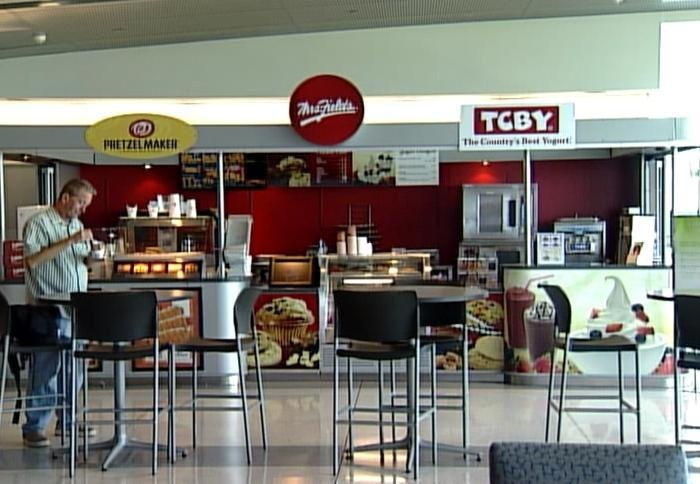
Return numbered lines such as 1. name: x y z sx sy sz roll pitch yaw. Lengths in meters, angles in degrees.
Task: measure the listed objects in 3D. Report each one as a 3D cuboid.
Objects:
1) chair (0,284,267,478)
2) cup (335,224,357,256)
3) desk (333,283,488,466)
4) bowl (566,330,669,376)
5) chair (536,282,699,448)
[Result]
1. chair: -1.805 1.215 7.704 1.939 1.698 2.012 -2 1 -2
2. cup: -0.053 -0.026 10.358 0.182 0.524 0.358 6 -7 -39
3. desk: 0.532 1.083 7.247 1.513 2.133 1.453 0 0 33
4. bowl: 3.096 1.364 8.871 0.704 0.256 0.721 -2 -2 0
5. chair: 2.735 1.148 8.206 1.416 2.760 1.299 -1 -2 9
